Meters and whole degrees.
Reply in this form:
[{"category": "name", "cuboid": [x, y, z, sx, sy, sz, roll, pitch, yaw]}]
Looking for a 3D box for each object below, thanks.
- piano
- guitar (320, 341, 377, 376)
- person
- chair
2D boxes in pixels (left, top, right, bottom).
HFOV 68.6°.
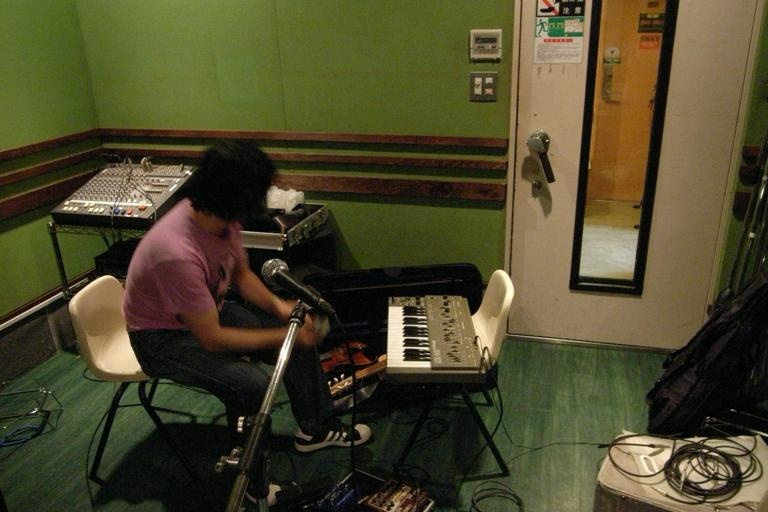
[{"category": "piano", "cuboid": [0.260, 0.465, 3.308, 0.541, 0.163, 0.780, 5, 25, -1]}, {"category": "guitar", "cuboid": [-0.219, 0.679, 3.649, 0.331, 0.173, 0.333, -6, -15, -27]}, {"category": "person", "cuboid": [-0.787, 0.383, 3.017, 1.170, 1.910, 0.649, 10, 29, 25]}, {"category": "chair", "cuboid": [-1.431, 0.768, 3.313, 0.646, 0.959, 0.623, -3, 2, -26]}]
